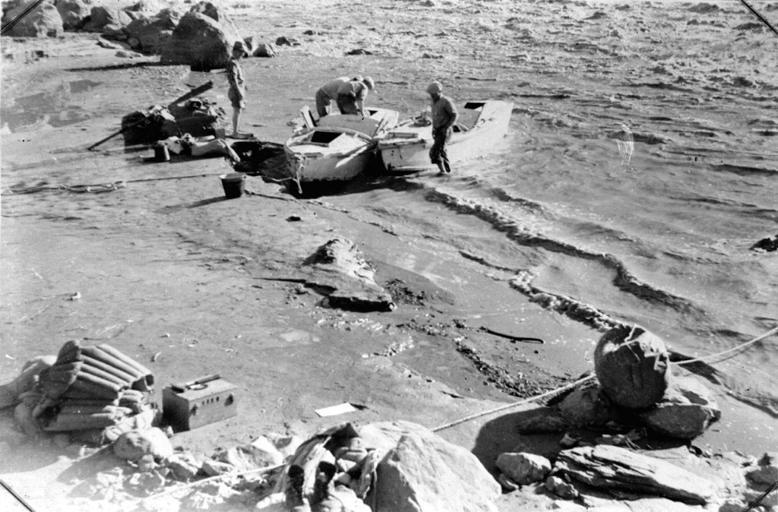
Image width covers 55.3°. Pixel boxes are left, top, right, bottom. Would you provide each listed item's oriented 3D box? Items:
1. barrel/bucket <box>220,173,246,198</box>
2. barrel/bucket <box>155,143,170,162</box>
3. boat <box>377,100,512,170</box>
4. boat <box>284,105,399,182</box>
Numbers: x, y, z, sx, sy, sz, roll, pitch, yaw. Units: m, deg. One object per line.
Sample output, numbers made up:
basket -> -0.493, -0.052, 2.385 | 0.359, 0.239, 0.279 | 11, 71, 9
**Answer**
barrel/bucket -> -3.325, -1.562, 16.002 | 0.555, 0.411, 0.538 | 3, 30, -2
barrel/bucket -> -5.502, -2.492, 17.920 | 0.348, 0.381, 0.405 | -12, 43, -13
boat -> 1.595, -2.810, 19.186 | 1.654, 0.889, 4.532 | 20, 32, 31
boat -> -1.139, -2.398, 18.131 | 2.048, 1.162, 3.420 | 2, 18, 26
